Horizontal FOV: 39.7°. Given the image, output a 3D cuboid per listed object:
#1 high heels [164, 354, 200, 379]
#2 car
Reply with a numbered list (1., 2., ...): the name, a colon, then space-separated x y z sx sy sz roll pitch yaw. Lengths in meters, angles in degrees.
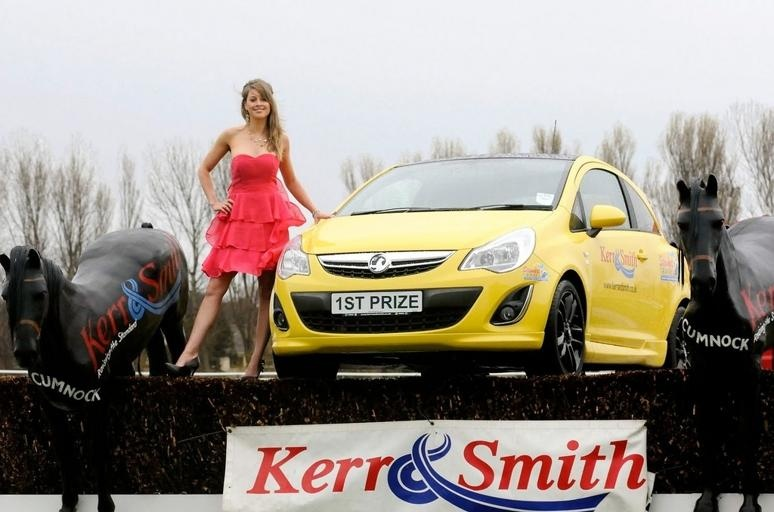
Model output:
1. high heels: -2.045 1.102 10.756 0.315 0.196 0.190 4 -5 -28
2. car: 1.032 0.120 10.355 4.239 2.246 2.107 -2 5 -35
